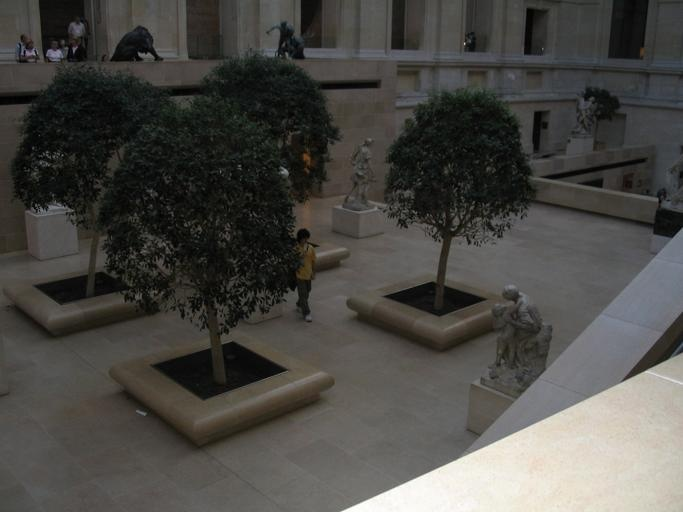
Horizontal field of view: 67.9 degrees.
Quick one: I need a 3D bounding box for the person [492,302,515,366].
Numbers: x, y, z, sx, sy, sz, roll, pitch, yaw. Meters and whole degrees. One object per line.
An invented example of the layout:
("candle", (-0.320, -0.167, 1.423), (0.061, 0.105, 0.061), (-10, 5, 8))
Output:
("person", (2.172, 1.034, 6.702), (0.313, 0.920, 0.291), (-3, 26, 27))
